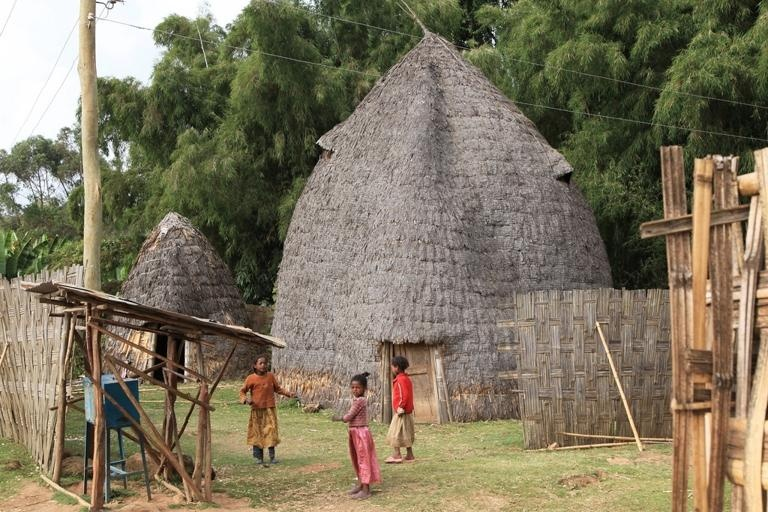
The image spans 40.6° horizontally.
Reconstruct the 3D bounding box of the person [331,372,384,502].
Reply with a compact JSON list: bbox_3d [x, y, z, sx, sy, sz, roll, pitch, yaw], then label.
[{"bbox_3d":[-0.411,3.260,18.967,0.616,2.248,0.772,-2,-7,-1],"label":"person"}]

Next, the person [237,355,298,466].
[{"bbox_3d":[-2.379,3.060,20.543,0.900,2.079,1.361,-2,-7,-8],"label":"person"}]

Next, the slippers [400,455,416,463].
[{"bbox_3d":[0.478,3.939,20.135,0.259,0.186,0.094,4,-12,-1],"label":"slippers"}]

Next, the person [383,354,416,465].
[{"bbox_3d":[0.290,3.000,20.250,0.554,2.059,1.047,-3,-7,0],"label":"person"}]

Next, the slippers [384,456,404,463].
[{"bbox_3d":[0.199,3.970,20.149,0.287,0.084,0.135,9,-16,-16],"label":"slippers"}]

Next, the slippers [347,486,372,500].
[{"bbox_3d":[-0.428,4.250,18.563,0.373,0.361,0.193,4,-14,9],"label":"slippers"}]
